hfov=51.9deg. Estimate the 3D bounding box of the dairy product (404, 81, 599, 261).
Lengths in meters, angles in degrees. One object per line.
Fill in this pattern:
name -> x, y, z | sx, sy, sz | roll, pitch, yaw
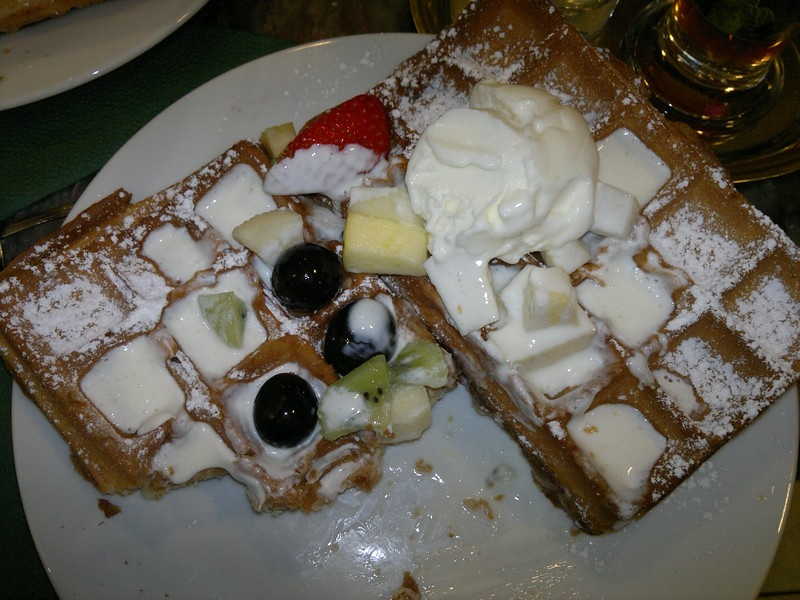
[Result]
dairy product -> 0.324, -0.420, 2.611 | 0.610, 0.174, 0.576 | 1, 84, -1
